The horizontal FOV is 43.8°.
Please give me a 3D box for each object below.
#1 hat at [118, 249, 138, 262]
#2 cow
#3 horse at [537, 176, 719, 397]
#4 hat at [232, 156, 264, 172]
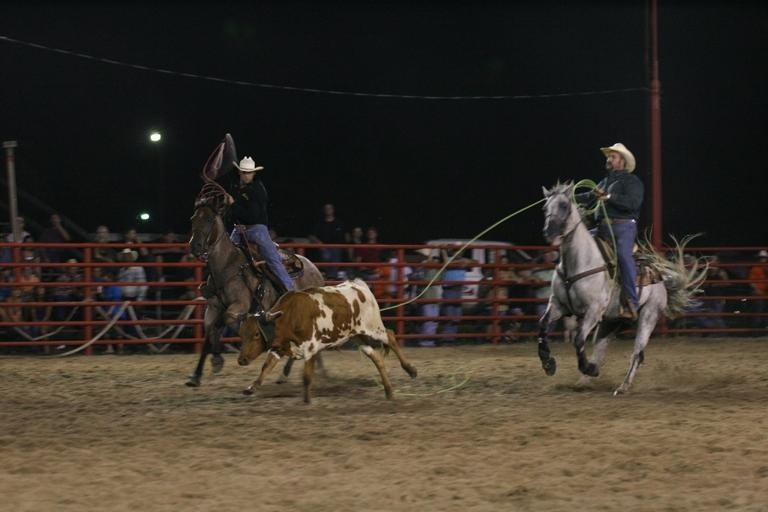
[{"bbox_3d":[-3.838,-0.028,14.350,0.267,0.234,0.223,-4,15,-14],"label":"hat"},{"bbox_3d":[-0.755,1.032,10.763,1.854,1.361,0.470,-6,17,-22],"label":"cow"},{"bbox_3d":[2.968,0.328,12.115,1.690,2.672,2.404,7,16,25],"label":"horse"},{"bbox_3d":[-1.656,-1.106,11.517,0.307,0.221,0.572,-3,12,-9],"label":"hat"}]
